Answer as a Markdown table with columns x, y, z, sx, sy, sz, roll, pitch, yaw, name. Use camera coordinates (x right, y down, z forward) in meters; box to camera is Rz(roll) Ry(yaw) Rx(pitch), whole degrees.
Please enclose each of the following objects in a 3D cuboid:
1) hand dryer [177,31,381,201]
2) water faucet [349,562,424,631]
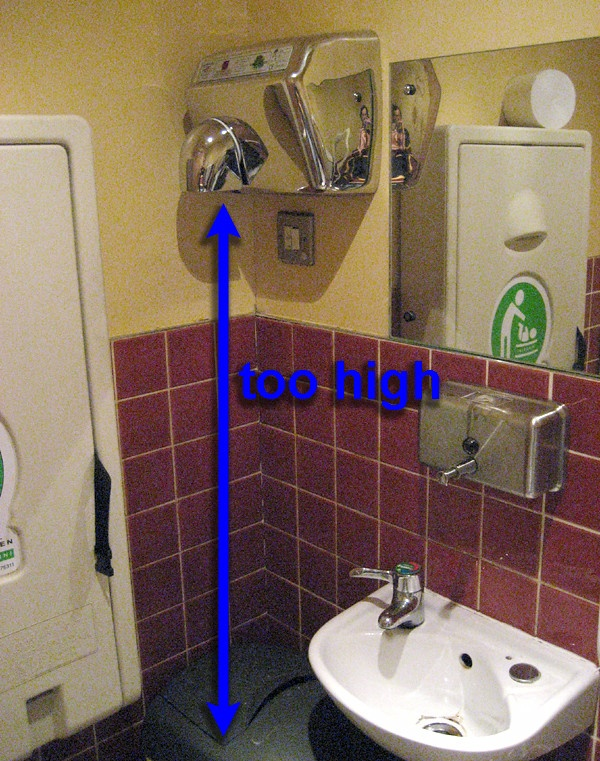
| x | y | z | sx | sy | sz | roll | pitch | yaw | name |
| --- | --- | --- | --- | --- | --- | --- | --- | --- | --- |
| -0.090 | -0.517 | 1.225 | 0.296 | 0.295 | 0.422 | -9 | 19 | -32 | hand dryer |
| 0.182 | 0.408 | 1.143 | 0.108 | 0.110 | 0.049 | -3 | -2 | -43 | water faucet |
